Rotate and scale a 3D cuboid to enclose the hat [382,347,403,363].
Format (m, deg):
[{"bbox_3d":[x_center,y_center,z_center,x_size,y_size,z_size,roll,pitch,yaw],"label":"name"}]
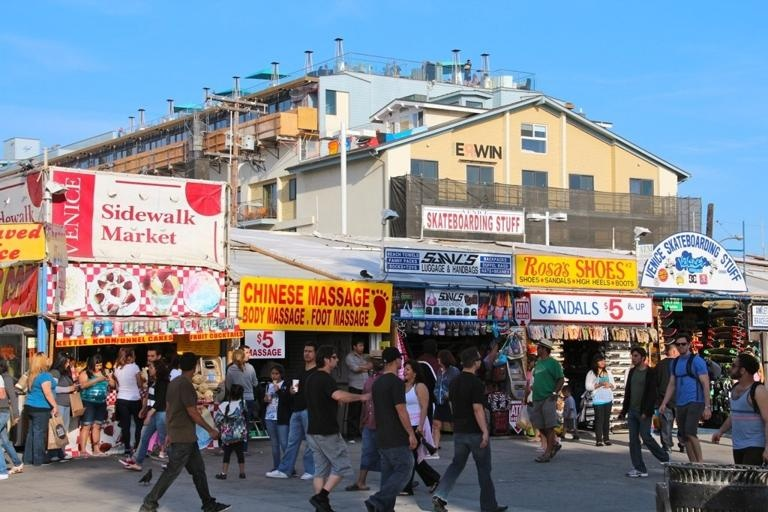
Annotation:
[{"bbox_3d":[0.148,1.770,20.957,0.234,0.156,0.319,10,31,42],"label":"hat"}]

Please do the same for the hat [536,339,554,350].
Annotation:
[{"bbox_3d":[3.849,2.113,28.130,0.352,0.134,0.406,13,-9,45],"label":"hat"}]

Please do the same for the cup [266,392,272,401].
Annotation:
[{"bbox_3d":[-2.458,2.972,24.500,0.125,0.153,0.057,7,-5,-3],"label":"cup"}]

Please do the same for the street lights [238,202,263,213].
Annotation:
[{"bbox_3d":[-6.474,-2.476,57.012,0.869,0.305,0.624,4,-6,-33],"label":"street lights"}]
